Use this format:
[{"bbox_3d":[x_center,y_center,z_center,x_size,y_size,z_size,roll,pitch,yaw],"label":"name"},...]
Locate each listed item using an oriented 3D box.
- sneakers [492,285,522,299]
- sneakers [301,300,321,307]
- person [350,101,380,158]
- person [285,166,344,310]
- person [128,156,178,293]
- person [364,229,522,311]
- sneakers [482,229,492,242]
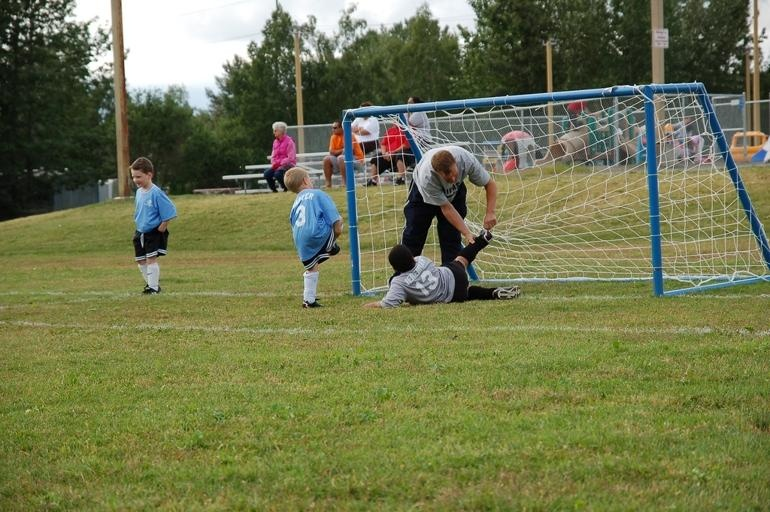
[{"bbox_3d":[1.468,0.443,11.160,0.233,0.094,0.175,0,2,25],"label":"sneakers"},{"bbox_3d":[-0.896,0.581,11.096,0.255,0.097,0.083,0,4,-8],"label":"sneakers"},{"bbox_3d":[-0.495,-2.409,17.176,0.771,0.898,0.623,-1,0,-9],"label":"person"},{"bbox_3d":[-0.868,-0.260,11.353,0.635,1.692,0.913,-6,6,-6],"label":"person"},{"bbox_3d":[-3.141,-0.425,12.429,0.565,1.825,0.599,-7,6,-16],"label":"person"},{"bbox_3d":[0.714,0.214,10.982,1.914,0.723,1.124,-6,24,23],"label":"person"},{"bbox_3d":[1.221,-0.239,11.066,0.073,0.126,0.098,-37,52,-26],"label":"sneakers"}]
